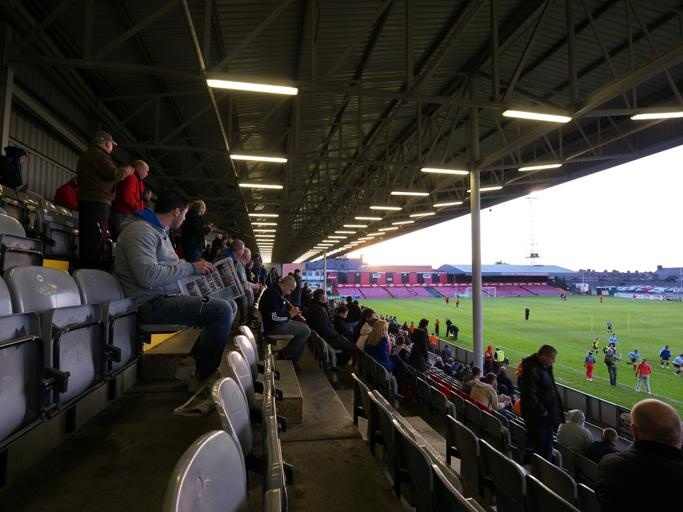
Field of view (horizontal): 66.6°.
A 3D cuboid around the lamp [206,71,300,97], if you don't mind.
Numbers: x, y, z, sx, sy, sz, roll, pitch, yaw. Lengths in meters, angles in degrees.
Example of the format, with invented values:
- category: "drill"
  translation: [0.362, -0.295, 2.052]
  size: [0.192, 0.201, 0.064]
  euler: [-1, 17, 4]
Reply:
- category: "lamp"
  translation: [-1.370, -2.608, 7.996]
  size: [1.422, 0.166, 0.269]
  euler: [1, -2, -7]
